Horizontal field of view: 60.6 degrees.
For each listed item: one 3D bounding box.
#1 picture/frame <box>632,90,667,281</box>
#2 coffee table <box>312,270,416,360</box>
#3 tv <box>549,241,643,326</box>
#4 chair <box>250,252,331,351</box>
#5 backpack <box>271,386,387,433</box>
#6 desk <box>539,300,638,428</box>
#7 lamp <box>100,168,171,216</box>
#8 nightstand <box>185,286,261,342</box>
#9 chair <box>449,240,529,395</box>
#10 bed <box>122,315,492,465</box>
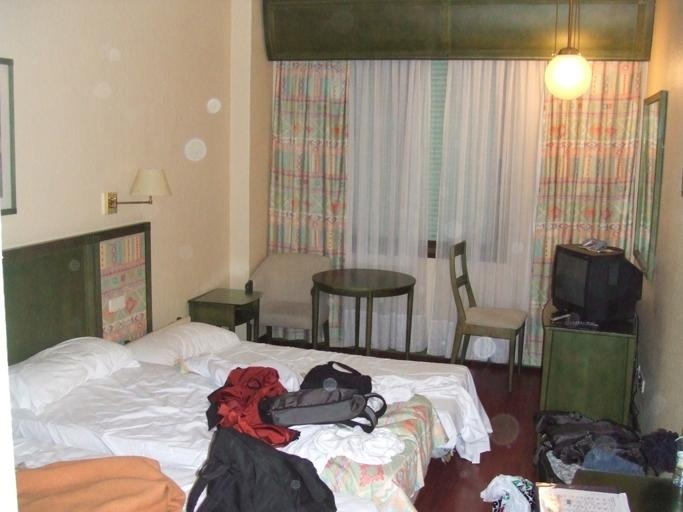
[{"bbox_3d":[2.418,-0.548,4.603,0.065,1.447,1.306,3,17,22],"label":"picture/frame"},{"bbox_3d":[0.003,0.611,5.721,0.672,0.790,0.718,1,8,2],"label":"coffee table"},{"bbox_3d":[1.993,0.206,4.805,0.596,0.625,0.643,-4,9,-17],"label":"tv"},{"bbox_3d":[-0.544,0.446,6.022,0.741,1.119,0.856,1,2,6],"label":"chair"},{"bbox_3d":[-0.113,0.883,3.399,0.452,0.159,0.297,0,0,8],"label":"backpack"},{"bbox_3d":[2.023,0.590,4.822,0.771,0.967,1.035,0,39,16],"label":"desk"},{"bbox_3d":[-1.523,-0.470,4.406,0.428,0.332,0.299,1,6,3],"label":"lamp"},{"bbox_3d":[-1.054,0.453,5.326,0.442,0.534,0.522,3,9,13],"label":"nightstand"},{"bbox_3d":[1.401,0.541,5.641,0.716,1.300,0.667,7,13,38],"label":"chair"},{"bbox_3d":[-0.143,0.824,4.234,1.860,0.653,1.267,4,9,15],"label":"bed"}]
